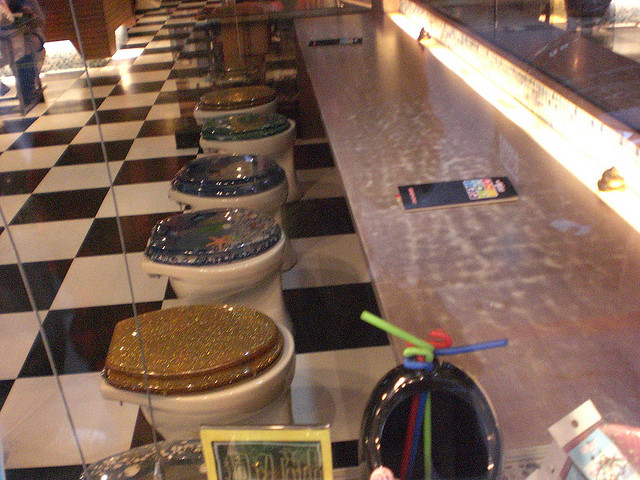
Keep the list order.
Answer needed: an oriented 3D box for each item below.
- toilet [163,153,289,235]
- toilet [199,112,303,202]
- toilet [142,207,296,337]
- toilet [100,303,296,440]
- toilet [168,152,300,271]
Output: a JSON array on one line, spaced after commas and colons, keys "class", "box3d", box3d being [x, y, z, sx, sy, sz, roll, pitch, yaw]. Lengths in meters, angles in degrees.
[{"class": "toilet", "box3d": [-0.306, -0.201, 1.793, 0.347, 0.309, 0.283, -2, 44, -4]}, {"class": "toilet", "box3d": [-0.287, -0.363, 2.381, 0.369, 0.406, 0.455, -4, 28, -3]}, {"class": "toilet", "box3d": [-0.280, 0.145, 1.606, 0.427, 0.461, 0.309, -7, 34, -8]}, {"class": "toilet", "box3d": [-0.255, 0.355, 1.213, 0.410, 0.363, 0.282, -6, 31, -9]}, {"class": "toilet", "box3d": [-0.270, -0.099, 1.953, 0.460, 0.411, 0.387, -2, 40, -3]}]
